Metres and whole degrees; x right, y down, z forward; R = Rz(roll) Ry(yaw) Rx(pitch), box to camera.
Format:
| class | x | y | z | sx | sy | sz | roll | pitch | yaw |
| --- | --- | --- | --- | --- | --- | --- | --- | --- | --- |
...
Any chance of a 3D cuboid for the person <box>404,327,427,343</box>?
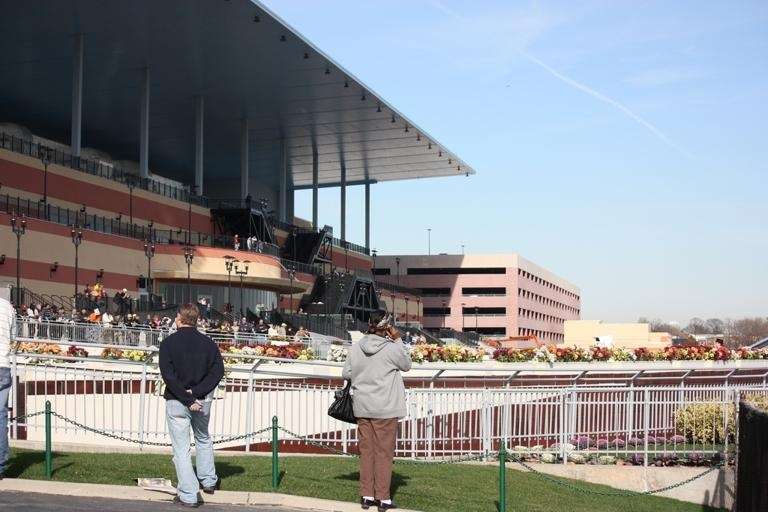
| class | x | y | z | sx | sy | sz | roll | pitch | yaw |
| --- | --- | --- | --- | --- | --- | --- | --- | --- | --- |
| person | 2.139 | 4.942 | 99.579 | 1.210 | 0.526 | 1.577 | 1 | -5 | 41 |

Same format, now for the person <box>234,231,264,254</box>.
| class | x | y | z | sx | sy | sz | roll | pitch | yaw |
| --- | --- | --- | --- | --- | --- | --- | --- | --- | --- |
| person | -8.272 | -0.921 | 97.892 | 1.427 | 0.854 | 1.353 | 2 | -4 | -13 |
